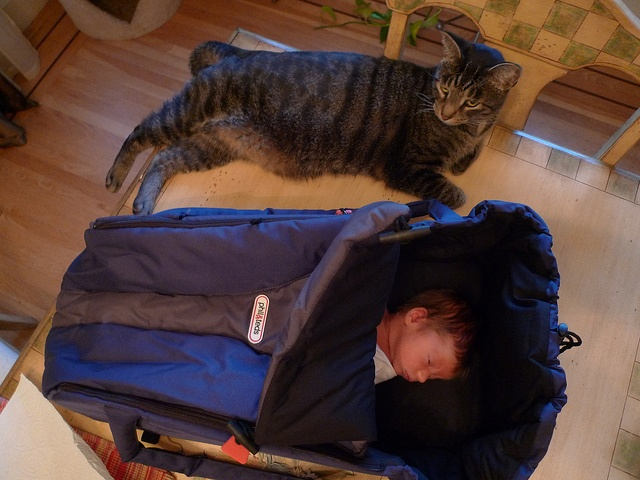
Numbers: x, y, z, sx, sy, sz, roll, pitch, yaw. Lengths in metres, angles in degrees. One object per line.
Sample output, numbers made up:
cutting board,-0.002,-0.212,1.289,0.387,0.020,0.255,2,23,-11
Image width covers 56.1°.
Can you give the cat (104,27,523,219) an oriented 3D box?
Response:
cat,-0.012,-0.414,2.447,1.256,0.524,0.797,0,87,4
